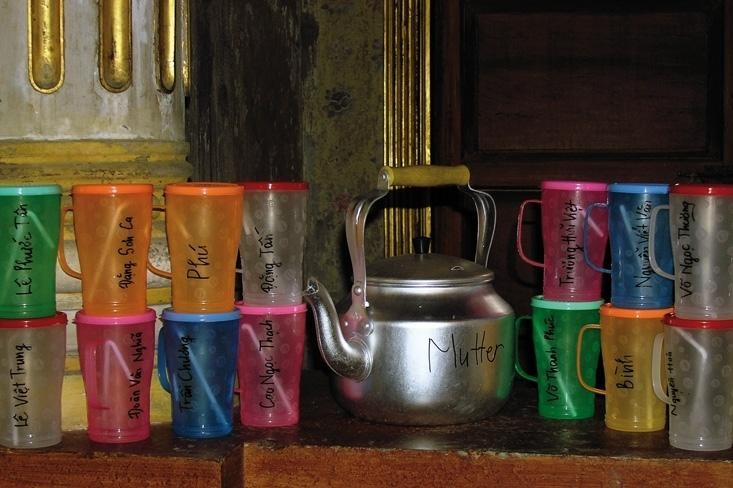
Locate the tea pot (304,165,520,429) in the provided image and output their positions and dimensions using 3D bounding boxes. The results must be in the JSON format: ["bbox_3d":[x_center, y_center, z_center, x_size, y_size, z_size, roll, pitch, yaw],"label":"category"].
[{"bbox_3d":[0.093,0.090,1.677,0.471,0.485,0.358,-5,7,-41],"label":"tea pot"}]
